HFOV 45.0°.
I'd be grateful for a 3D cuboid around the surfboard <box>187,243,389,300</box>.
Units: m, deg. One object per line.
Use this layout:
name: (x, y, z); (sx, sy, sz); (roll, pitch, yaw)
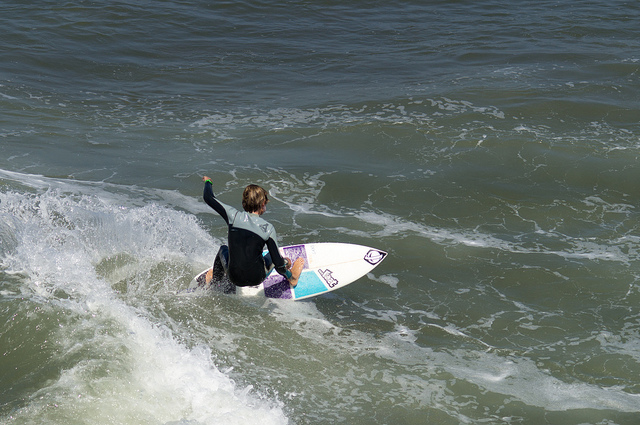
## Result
surfboard: (-0.551, 1.301, 17.643); (5.234, 1.094, 0.490); (-10, -20, 32)
